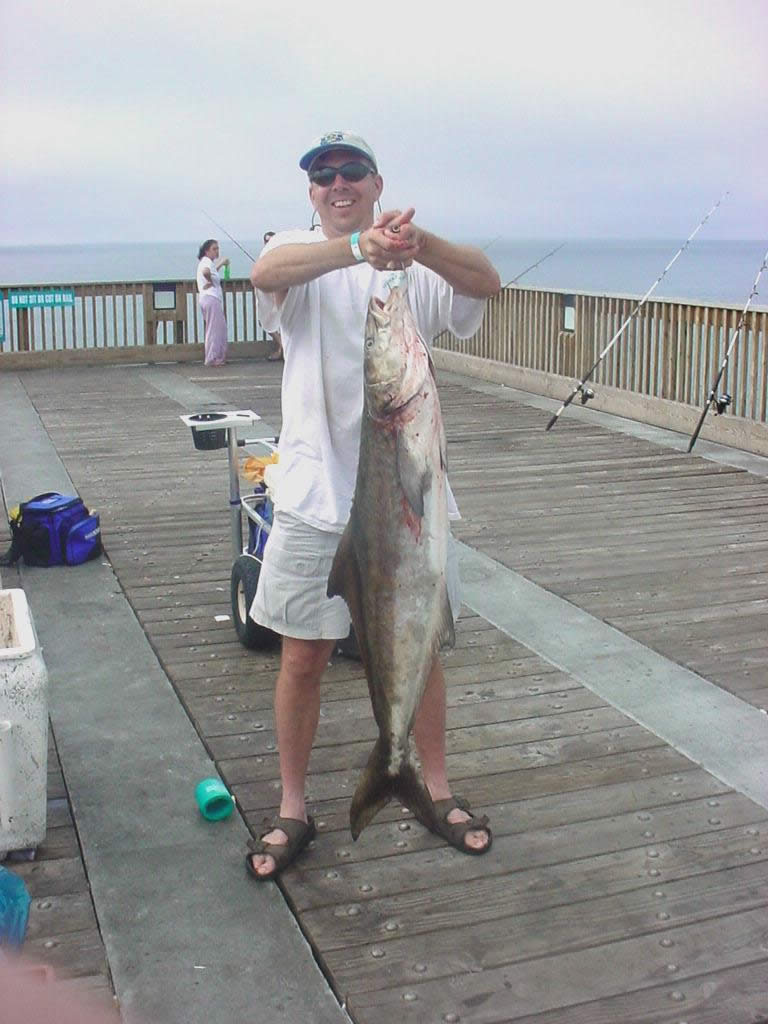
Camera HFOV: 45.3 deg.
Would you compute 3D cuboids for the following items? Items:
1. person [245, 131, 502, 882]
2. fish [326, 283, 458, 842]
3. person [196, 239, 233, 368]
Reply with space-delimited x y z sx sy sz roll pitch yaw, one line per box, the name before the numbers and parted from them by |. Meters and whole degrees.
person | -0.017 -0.017 2.005 0.640 1.674 0.916 0 4 -5
fish | 0.014 0.130 1.843 0.245 1.114 0.370 -1 12 -5
person | -2.754 -3.333 14.693 0.449 1.944 0.913 -3 12 -11
